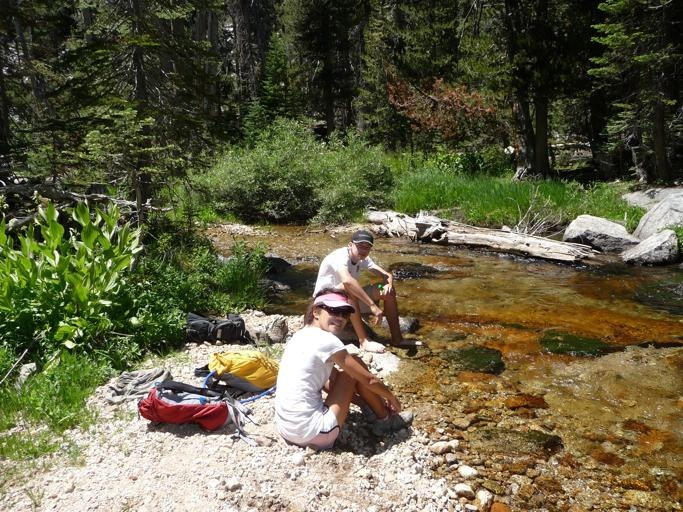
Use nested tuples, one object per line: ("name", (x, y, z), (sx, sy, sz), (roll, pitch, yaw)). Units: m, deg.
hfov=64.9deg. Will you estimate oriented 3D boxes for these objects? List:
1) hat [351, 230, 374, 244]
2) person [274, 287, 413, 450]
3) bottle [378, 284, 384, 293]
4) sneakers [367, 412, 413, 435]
("hat", (0.285, -0.258, 7.486), (0.289, 0.187, 0.349), (0, 14, 0))
("person", (-0.135, 1.239, 5.859), (1.198, 1.583, 0.601), (-8, 17, -28))
("bottle", (0.581, 0.480, 7.995), (0.067, 0.110, 0.114), (-6, -19, 26))
("sneakers", (0.566, 1.908, 6.242), (0.543, 0.232, 0.196), (-13, 16, -17))
